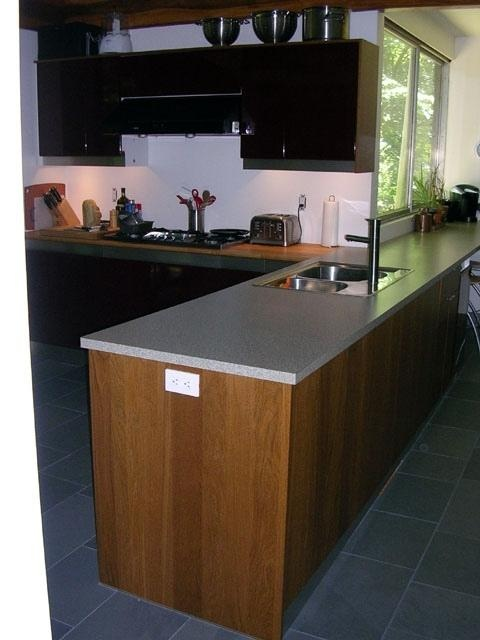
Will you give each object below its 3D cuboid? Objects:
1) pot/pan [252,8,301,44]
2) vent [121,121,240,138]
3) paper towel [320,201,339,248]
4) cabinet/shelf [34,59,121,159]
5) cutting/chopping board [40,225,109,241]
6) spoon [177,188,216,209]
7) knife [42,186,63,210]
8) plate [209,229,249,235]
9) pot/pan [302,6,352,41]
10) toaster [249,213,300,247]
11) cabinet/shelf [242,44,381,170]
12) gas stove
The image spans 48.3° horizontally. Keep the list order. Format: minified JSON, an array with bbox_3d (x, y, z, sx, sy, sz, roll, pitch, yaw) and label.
[{"bbox_3d":[0.235,-1.976,3.606,0.228,0.156,0.248,-1,10,-3],"label":"pot/pan"},{"bbox_3d":[-0.436,-1.417,3.966,0.925,0.088,0.166,10,17,30],"label":"vent"},{"bbox_3d":[0.687,-0.751,4.051,0.116,0.364,0.119,10,20,34],"label":"paper towel"},{"bbox_3d":[-1.329,-1.776,4.575,0.763,0.723,0.469,2,12,0],"label":"cabinet/shelf"},{"bbox_3d":[-1.389,-0.735,4.532,0.691,0.091,0.258,4,15,10],"label":"cutting/chopping board"},{"bbox_3d":[-0.392,-1.017,4.495,0.371,0.154,0.238,4,15,12],"label":"spoon"},{"bbox_3d":[-1.642,-1.064,4.706,0.121,0.237,0.065,4,-6,6],"label":"knife"},{"bbox_3d":[-0.085,-0.717,4.351,0.146,0.021,0.138,-7,20,-21],"label":"plate"},{"bbox_3d":[0.570,-1.945,3.518,0.249,0.157,0.253,24,37,35],"label":"pot/pan"},{"bbox_3d":[0.278,-0.689,4.122,0.349,0.234,0.251,5,10,25],"label":"toaster"},{"bbox_3d":[0.488,-1.469,3.621,0.783,0.752,0.409,6,15,22],"label":"cabinet/shelf"},{"bbox_3d":[-0.458,-0.679,4.336,1.104,0.111,0.525,7,16,22],"label":"gas stove"}]
